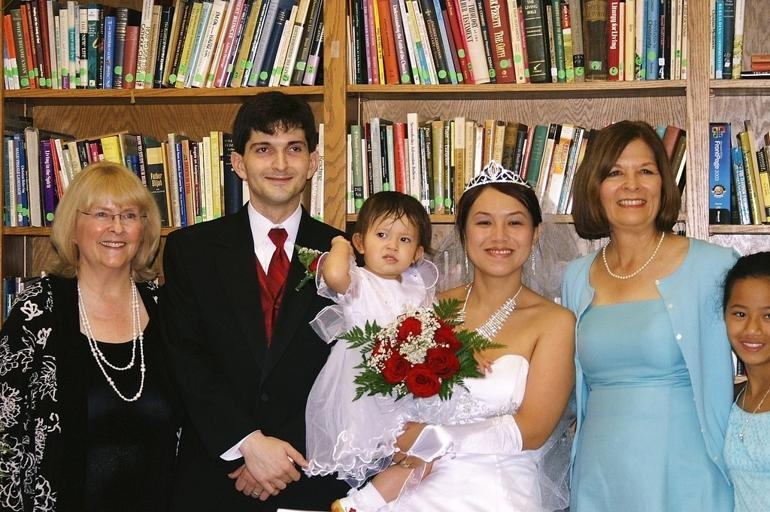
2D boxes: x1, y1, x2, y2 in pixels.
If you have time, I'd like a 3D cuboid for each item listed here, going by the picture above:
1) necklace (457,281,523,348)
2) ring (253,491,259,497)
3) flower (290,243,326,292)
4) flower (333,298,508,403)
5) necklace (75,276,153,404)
[{"bbox_3d":[0.477,0.254,2.766,0.286,0.230,0.012,34,-17,40],"label":"necklace"},{"bbox_3d":[-0.559,1.010,2.722,0.025,0.021,0.006,9,15,-1],"label":"ring"},{"bbox_3d":[-0.332,0.054,2.831,0.134,0.198,0.237,-2,9,-9],"label":"flower"},{"bbox_3d":[0.147,0.402,2.666,0.676,0.382,0.379,-2,8,-6],"label":"flower"},{"bbox_3d":[-1.248,0.431,3.028,0.236,0.663,0.029,-10,-27,-29],"label":"necklace"}]
